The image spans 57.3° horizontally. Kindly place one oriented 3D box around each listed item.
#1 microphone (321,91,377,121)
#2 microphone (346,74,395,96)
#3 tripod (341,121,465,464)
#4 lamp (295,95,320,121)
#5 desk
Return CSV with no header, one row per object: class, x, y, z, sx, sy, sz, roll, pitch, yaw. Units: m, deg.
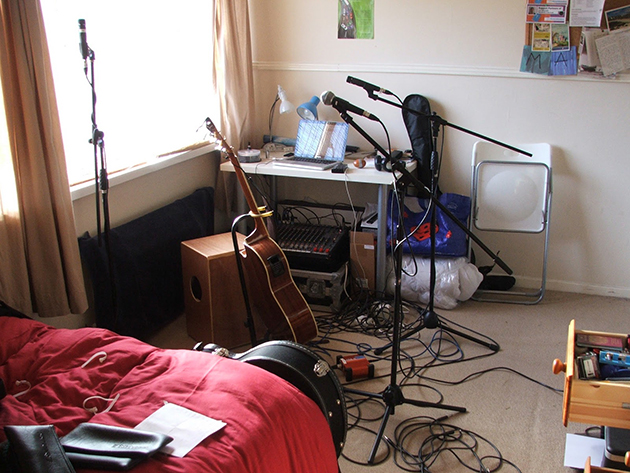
microphone,0.186,-0.604,2.740,0.309,0.095,0.099,19,17,11
microphone,0.273,-0.761,2.905,0.186,0.082,0.284,0,15,11
tripod,0.433,0.103,2.850,0.762,1.706,0.647,-3,9,-17
lamp,-0.045,-0.929,4.147,0.143,0.158,0.168,20,70,33
desk,0.037,-0.397,4.167,1.151,1.254,0.914,6,16,17
